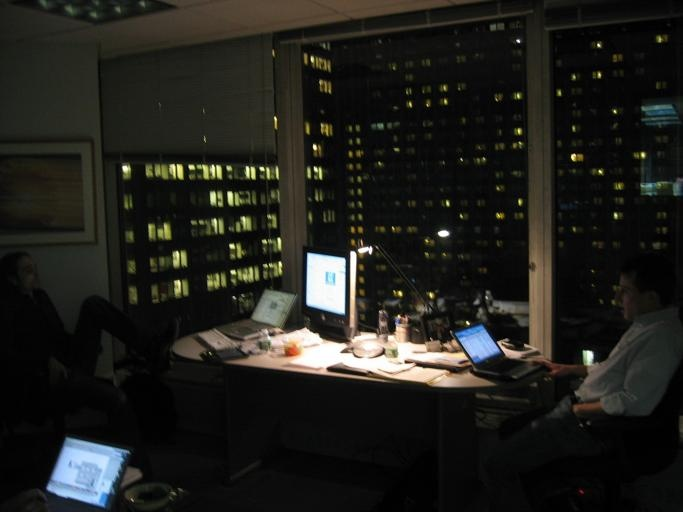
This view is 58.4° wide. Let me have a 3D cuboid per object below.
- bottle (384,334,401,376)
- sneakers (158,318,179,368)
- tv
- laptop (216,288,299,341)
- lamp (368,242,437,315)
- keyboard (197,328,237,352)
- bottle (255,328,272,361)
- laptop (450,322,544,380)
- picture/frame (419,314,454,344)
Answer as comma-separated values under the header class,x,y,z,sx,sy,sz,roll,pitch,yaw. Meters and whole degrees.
class,x,y,z,sx,sy,sz,roll,pitch,yaw
bottle,0.315,0.608,3.714,0.134,0.167,0.448,-3,3,5
sneakers,-1.254,0.646,4.446,0.120,0.362,0.134,16,-13,-35
tv,-0.074,0.267,4.111,0.231,0.647,0.625,2,-1,-38
laptop,-0.591,0.374,4.309,0.318,0.201,0.440,12,14,43
lamp,0.441,0.138,4.232,0.400,0.483,0.781,-3,6,4
keyboard,-0.828,0.555,4.058,0.190,0.062,0.369,-7,7,-32
bottle,-0.517,0.570,4.051,0.106,0.188,0.108,1,-4,0
laptop,0.871,0.582,3.579,0.340,0.344,0.161,-5,-25,-39
picture/frame,0.609,0.471,3.936,0.174,0.202,0.031,7,-16,-30
